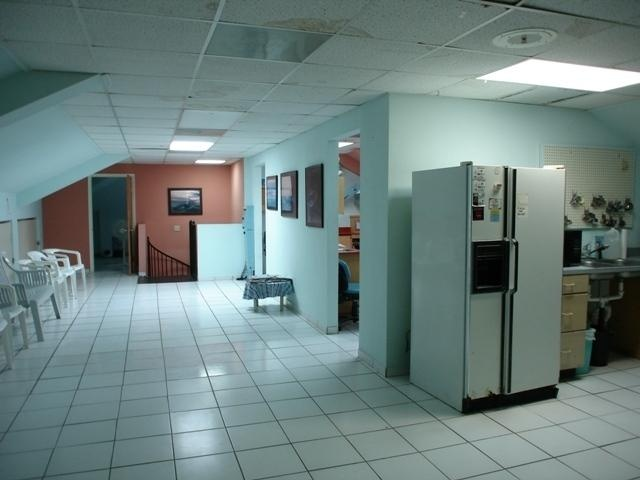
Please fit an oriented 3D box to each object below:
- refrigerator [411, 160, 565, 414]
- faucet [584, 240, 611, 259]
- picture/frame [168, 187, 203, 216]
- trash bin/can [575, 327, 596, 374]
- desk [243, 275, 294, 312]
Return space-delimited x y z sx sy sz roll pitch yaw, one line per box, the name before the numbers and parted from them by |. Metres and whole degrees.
refrigerator | 1.633 0.412 4.280 1.358 2.231 0.647 0 7 -4
faucet | 3.356 0.133 5.487 0.244 0.195 0.239 -4 8 -36
picture/frame | -3.656 -1.058 12.176 0.806 0.661 0.076 -1 13 -18
trash bin/can | 2.836 1.204 4.950 0.339 0.415 0.344 2 -13 24
desk | -0.869 0.901 7.496 0.827 0.553 0.601 -2 7 -23
